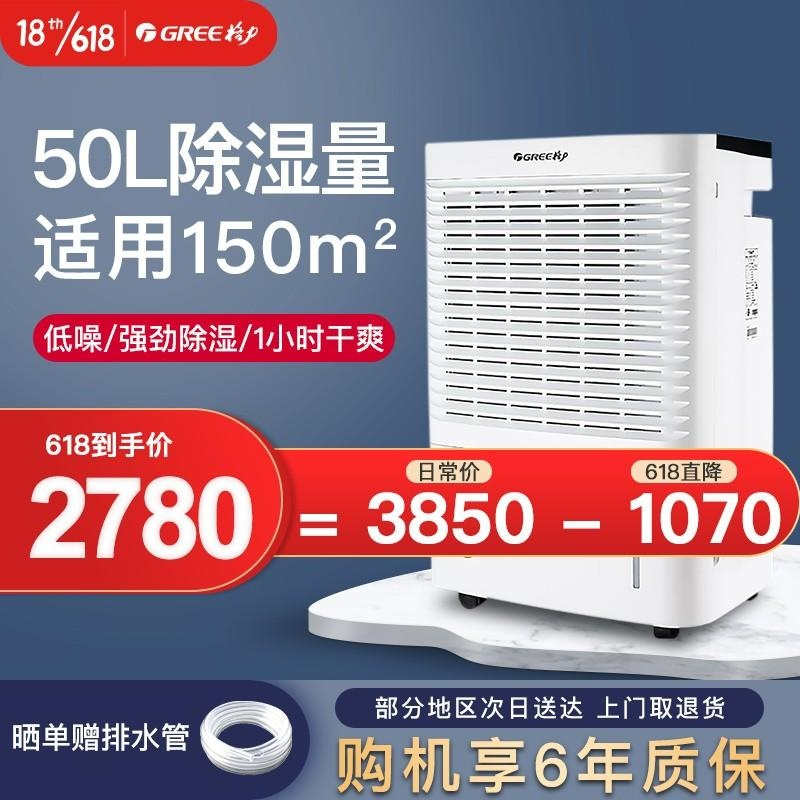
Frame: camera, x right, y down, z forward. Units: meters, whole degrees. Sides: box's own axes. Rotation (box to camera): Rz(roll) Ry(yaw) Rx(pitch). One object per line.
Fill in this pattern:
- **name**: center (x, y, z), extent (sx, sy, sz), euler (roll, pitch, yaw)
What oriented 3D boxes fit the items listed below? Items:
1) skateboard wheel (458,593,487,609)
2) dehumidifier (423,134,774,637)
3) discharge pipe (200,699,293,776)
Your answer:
- **skateboard wheel**: center (0.194, 0.544, 2.987), extent (0.051, 0.061, 0.035), euler (7, 3, 26)
- **dehumidifier**: center (0.515, -0.272, 2.714), extent (0.902, 0.791, 0.478), euler (-2, -4, 0)
- **discharge pipe**: center (-0.364, 0.793, 2.595), extent (0.207, 0.145, 0.127), euler (-1, -4, -7)
